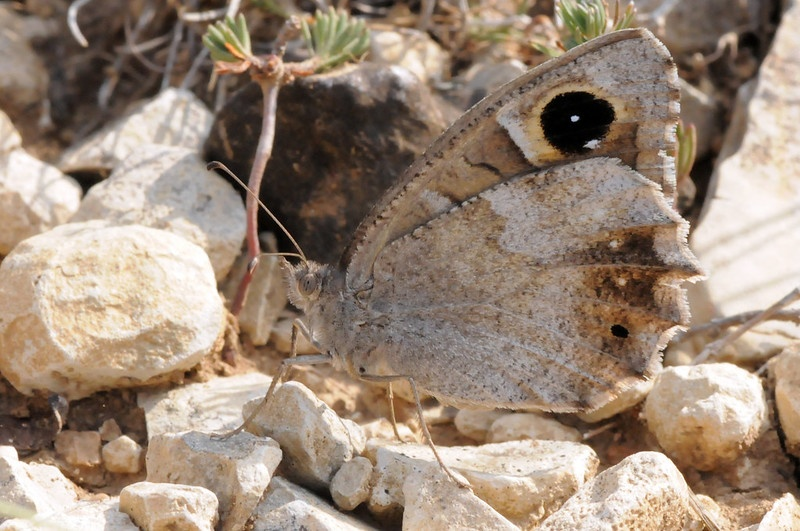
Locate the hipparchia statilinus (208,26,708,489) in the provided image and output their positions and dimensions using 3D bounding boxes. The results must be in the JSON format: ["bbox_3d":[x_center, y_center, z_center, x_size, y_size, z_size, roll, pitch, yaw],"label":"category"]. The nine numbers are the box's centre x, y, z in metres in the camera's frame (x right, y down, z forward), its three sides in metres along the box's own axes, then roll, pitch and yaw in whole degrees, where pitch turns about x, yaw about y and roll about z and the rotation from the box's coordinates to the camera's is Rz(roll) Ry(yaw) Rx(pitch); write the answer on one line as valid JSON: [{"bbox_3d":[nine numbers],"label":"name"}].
[{"bbox_3d":[0.501,-0.211,8.938,3.805,2.611,2.224,-5,10,20],"label":"hipparchia statilinus"}]
